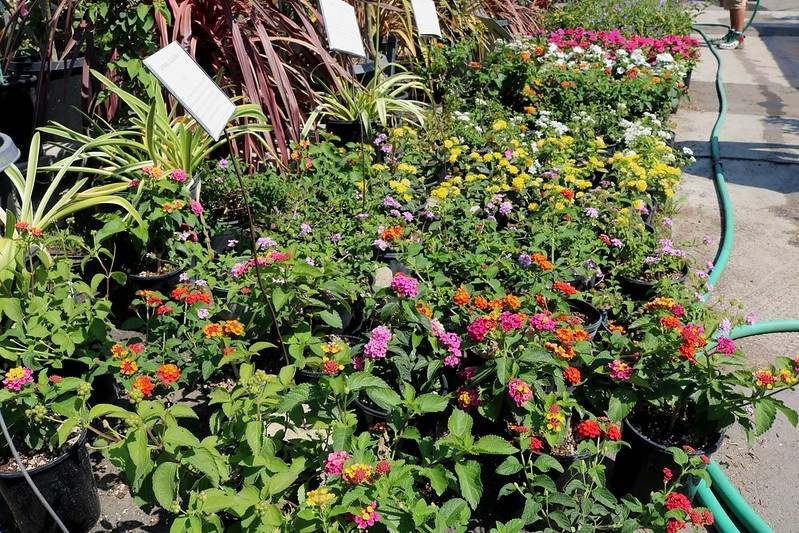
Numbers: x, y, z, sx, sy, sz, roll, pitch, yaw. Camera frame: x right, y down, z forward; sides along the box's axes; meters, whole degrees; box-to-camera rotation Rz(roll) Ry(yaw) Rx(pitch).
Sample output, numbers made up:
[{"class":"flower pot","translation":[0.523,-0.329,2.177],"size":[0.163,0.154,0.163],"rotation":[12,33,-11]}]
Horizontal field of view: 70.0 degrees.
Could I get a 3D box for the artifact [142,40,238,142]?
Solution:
[{"class":"artifact","translation":[-0.935,-0.794,2.583],"size":[0.242,0.396,0.348],"rotation":[3,29,5]}]
